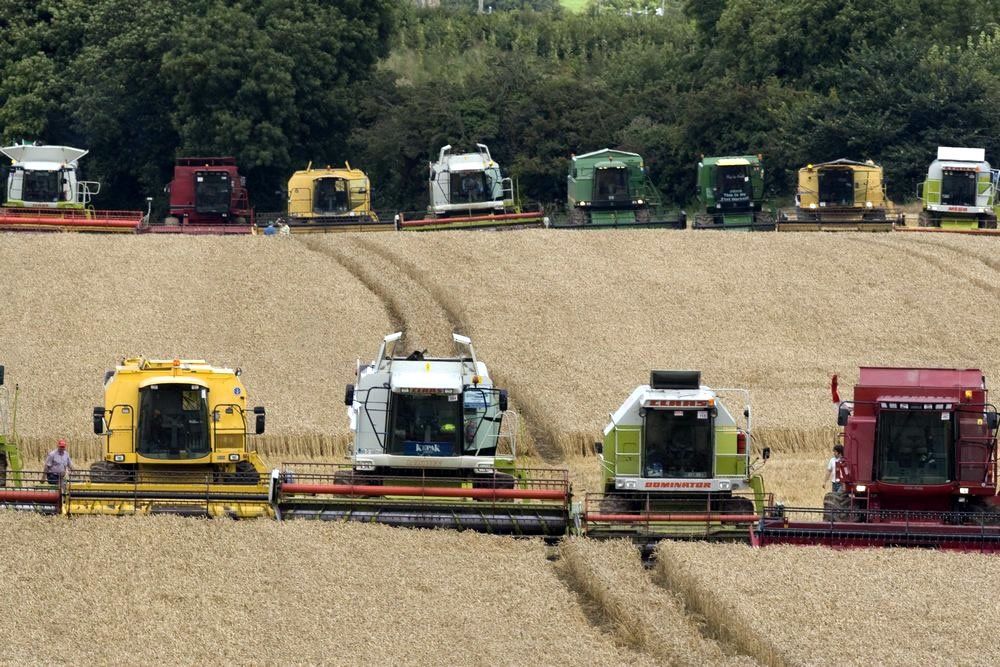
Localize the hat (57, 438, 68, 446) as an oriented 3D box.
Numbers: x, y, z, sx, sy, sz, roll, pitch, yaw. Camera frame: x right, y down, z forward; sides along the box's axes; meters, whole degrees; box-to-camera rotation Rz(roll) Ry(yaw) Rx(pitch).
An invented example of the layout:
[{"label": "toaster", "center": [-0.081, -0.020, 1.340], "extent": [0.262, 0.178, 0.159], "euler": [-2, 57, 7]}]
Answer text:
[{"label": "hat", "center": [-14.298, 3.553, 83.460], "extent": [0.306, 0.284, 0.491], "euler": [2, -6, -16]}]

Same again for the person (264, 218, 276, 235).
[{"label": "person", "center": [-9.889, -4.217, 109.480], "extent": [0.357, 0.570, 1.290], "euler": [7, 18, -4]}]
